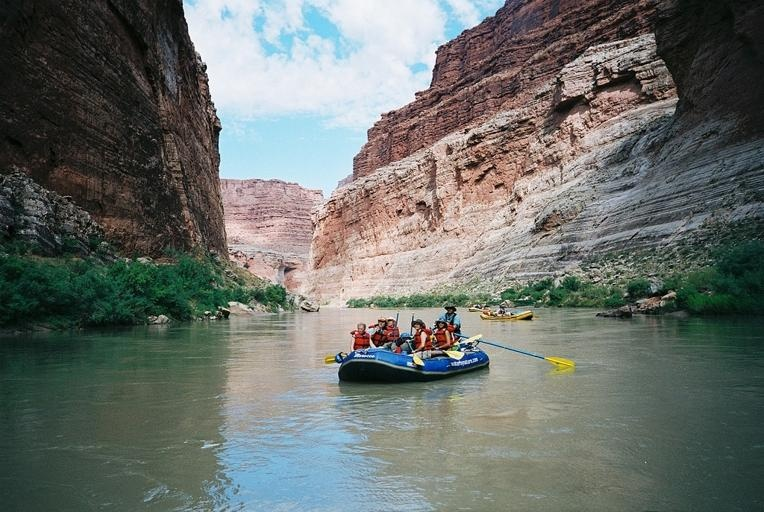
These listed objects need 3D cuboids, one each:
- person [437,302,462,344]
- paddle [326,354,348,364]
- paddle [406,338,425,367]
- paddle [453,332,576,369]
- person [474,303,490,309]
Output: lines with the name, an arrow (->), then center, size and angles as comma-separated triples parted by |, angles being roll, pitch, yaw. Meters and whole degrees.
person -> 1.930, 2.014, 13.131 | 0.676, 1.133, 0.584 | 3, 5, 39
paddle -> -1.215, 2.740, 12.299 | 0.363, 0.240, 1.206 | 8, -11, -25
paddle -> 0.840, 2.353, 11.207 | 0.491, 0.077, 1.331 | -2, 11, 10
paddle -> 3.563, 2.619, 13.205 | 4.208, 0.259, 1.092 | 5, 17, 44
person -> 7.522, 3.676, 34.491 | 1.336, 0.296, 1.124 | 2, -5, -14
